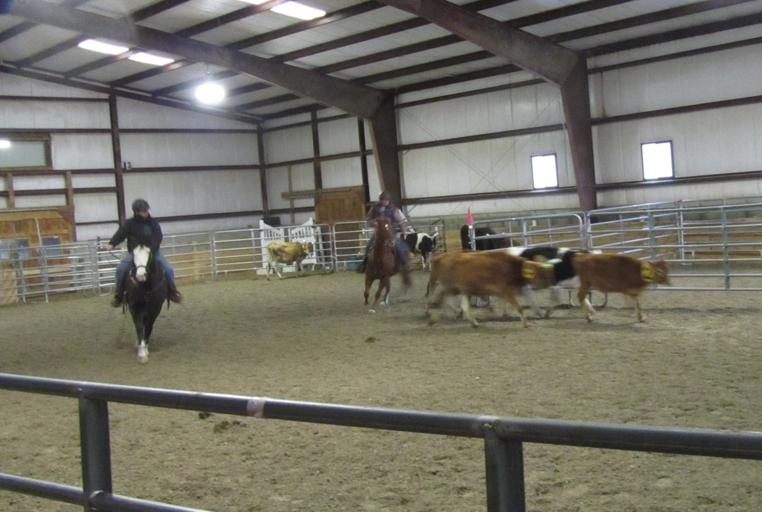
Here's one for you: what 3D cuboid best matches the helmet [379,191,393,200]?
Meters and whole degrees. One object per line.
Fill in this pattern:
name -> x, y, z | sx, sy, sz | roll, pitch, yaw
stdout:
helmet -> 0.078, -1.036, 10.797 | 0.228, 0.163, 0.199 | 0, 21, -5

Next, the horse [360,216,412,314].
horse -> 0.034, 0.088, 10.964 | 0.878, 1.667, 1.229 | -8, 10, -1

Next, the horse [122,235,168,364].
horse -> -3.096, 0.580, 8.190 | 0.634, 1.518, 0.844 | -10, 11, -15

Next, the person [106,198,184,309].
person -> -3.178, -0.068, 8.434 | 1.092, 1.215, 0.788 | -3, 9, -8

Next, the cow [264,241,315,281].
cow -> -2.597, 0.068, 17.060 | 0.760, 0.926, 1.312 | 0, 11, 33

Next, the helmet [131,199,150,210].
helmet -> -3.144, -0.665, 8.227 | 0.197, 0.185, 0.228 | -7, -3, -35

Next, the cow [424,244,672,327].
cow -> 2.154, 0.429, 8.413 | 3.065, 1.071, 0.584 | -2, 11, 15
